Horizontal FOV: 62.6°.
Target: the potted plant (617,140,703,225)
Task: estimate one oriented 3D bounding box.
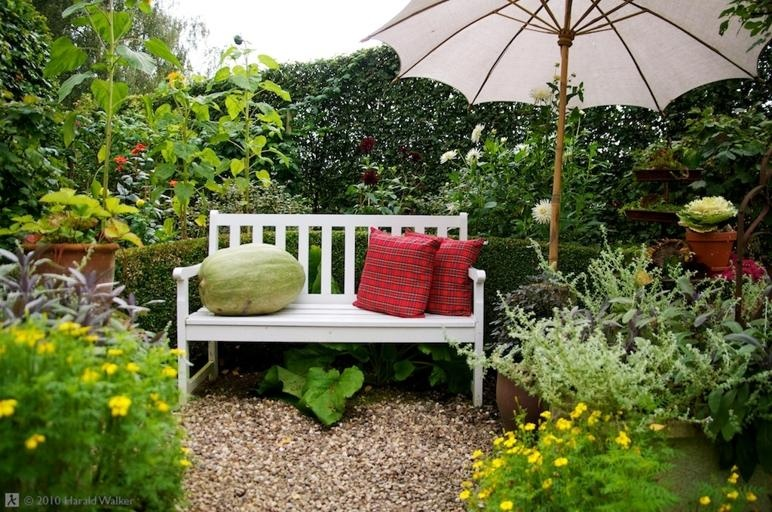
[{"bbox_3d":[2.056,-0.550,4.741,0.495,0.623,1.207,4,4,25],"label":"potted plant"}]

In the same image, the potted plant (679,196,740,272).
[{"bbox_3d":[2.025,-0.133,3.991,0.387,0.523,0.434,-2,0,-24],"label":"potted plant"}]

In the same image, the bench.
[{"bbox_3d":[-0.403,0.308,4.457,2.007,1.304,0.872,3,3,-1],"label":"bench"}]

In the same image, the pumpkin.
[{"bbox_3d":[-0.879,0.165,4.209,0.669,0.443,0.153,2,3,-13],"label":"pumpkin"}]
